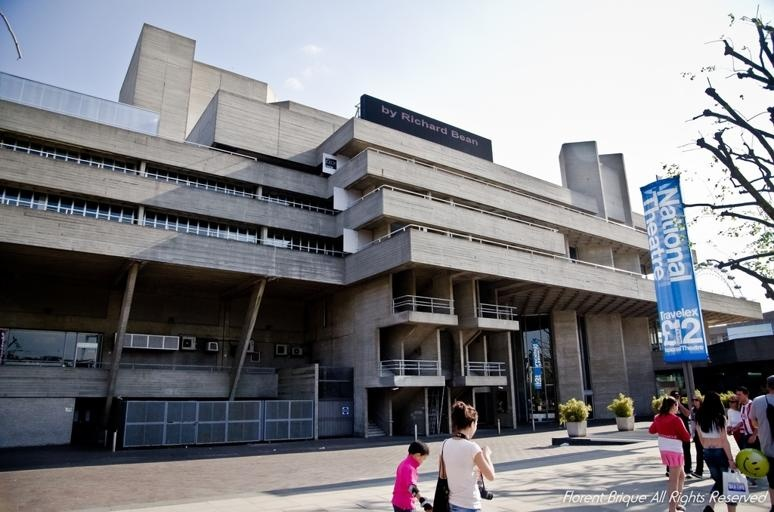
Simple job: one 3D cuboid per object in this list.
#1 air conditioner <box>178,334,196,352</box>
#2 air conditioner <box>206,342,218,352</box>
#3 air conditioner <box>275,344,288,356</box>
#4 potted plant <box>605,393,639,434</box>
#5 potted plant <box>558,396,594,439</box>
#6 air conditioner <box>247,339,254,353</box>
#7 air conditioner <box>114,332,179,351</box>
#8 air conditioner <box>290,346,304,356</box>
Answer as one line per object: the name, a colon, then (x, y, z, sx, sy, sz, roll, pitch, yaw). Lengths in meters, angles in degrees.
air conditioner: (-15.884, 6.910, 40.982, 1.538, 1.273, 1.052, 4, -10, -32)
air conditioner: (-14.224, 7.380, 41.799, 0.891, 0.766, 0.845, 6, -22, -16)
air conditioner: (-9.098, 8.049, 44.343, 1.124, 0.964, 0.499, 2, -19, -14)
potted plant: (15.396, 10.275, 33.687, 1.152, 2.235, 1.598, -7, -19, 14)
potted plant: (11.099, 9.585, 30.508, 1.385, 2.130, 1.600, -9, -19, 19)
air conditioner: (-11.353, 7.464, 42.920, 0.479, 1.103, 1.205, 0, -18, -6)
air conditioner: (-18.294, 6.441, 38.772, 5.621, 1.392, 1.520, 8, 5, -31)
air conditioner: (-7.934, 8.360, 45.082, 1.440, 0.869, 0.744, 10, -21, -37)
